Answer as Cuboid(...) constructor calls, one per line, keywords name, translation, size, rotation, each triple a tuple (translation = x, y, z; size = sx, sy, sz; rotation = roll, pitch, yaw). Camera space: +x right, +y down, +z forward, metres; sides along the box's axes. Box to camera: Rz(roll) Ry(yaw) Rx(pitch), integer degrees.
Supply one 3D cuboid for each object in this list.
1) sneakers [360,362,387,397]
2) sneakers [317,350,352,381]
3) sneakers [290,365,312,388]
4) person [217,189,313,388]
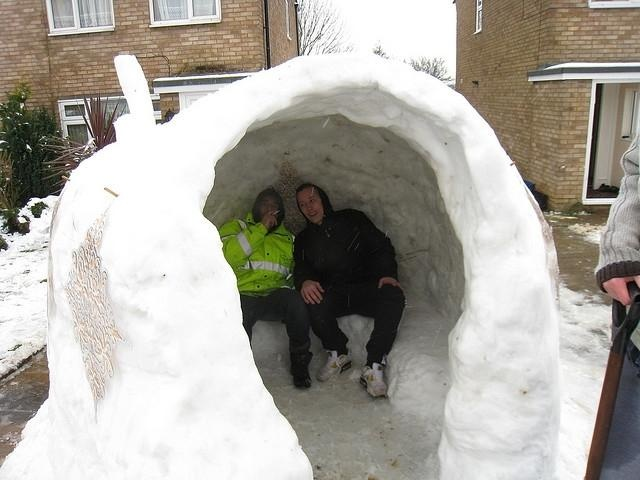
Cuboid(name="sneakers", translation=(0.383, 0.990, 3.841), size=(0.117, 0.136, 0.266), rotation=(-1, 0, -19))
Cuboid(name="sneakers", translation=(0.103, 0.946, 4.068), size=(0.274, 0.130, 0.144), rotation=(-32, 26, -36))
Cuboid(name="sneakers", translation=(-0.135, 0.996, 3.931), size=(0.149, 0.141, 0.121), rotation=(-2, 15, -4))
Cuboid(name="person", translation=(-0.401, 0.326, 4.132), size=(0.658, 1.333, 0.910), rotation=(-4, 15, -11))
